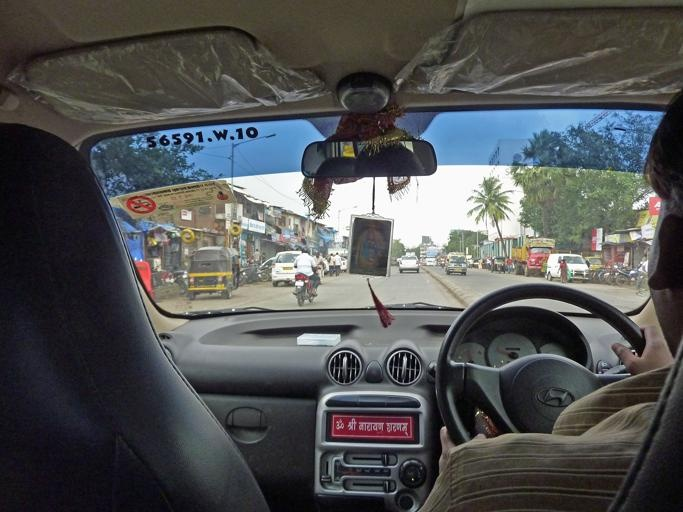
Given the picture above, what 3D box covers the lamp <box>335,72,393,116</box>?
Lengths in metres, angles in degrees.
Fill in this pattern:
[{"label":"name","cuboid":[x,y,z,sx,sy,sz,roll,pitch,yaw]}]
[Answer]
[{"label":"lamp","cuboid":[0.113,-0.822,2.892,0.313,0.114,0.324,0,-20,-1]}]
